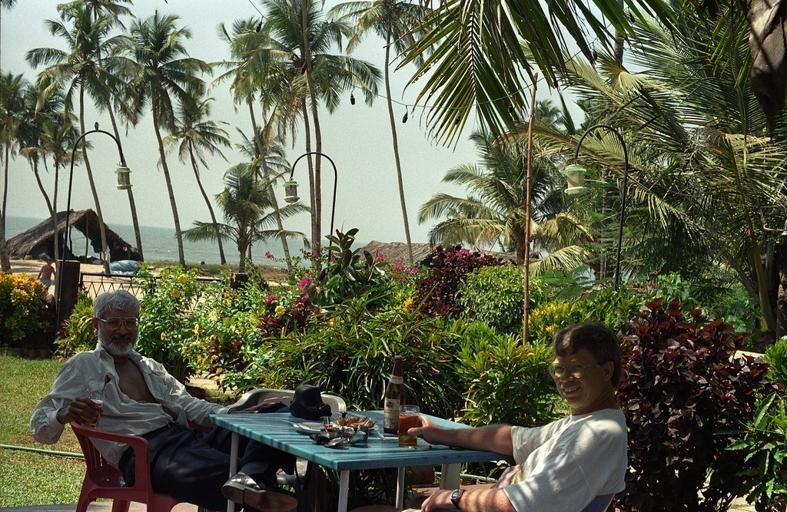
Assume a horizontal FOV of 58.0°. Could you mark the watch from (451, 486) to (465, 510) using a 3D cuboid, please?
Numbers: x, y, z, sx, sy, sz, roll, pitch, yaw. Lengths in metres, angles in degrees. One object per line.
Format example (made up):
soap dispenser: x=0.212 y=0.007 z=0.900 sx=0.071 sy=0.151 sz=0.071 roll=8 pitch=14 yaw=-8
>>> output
watch: x=0.414 y=1.564 z=4.627 sx=0.070 sy=0.119 sz=0.123 roll=-1 pitch=-33 yaw=0

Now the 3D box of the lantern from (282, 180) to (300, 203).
lantern: x=-2.191 y=-1.399 z=15.329 sx=0.431 sy=0.665 sz=0.453 roll=0 pitch=-3 yaw=-12
